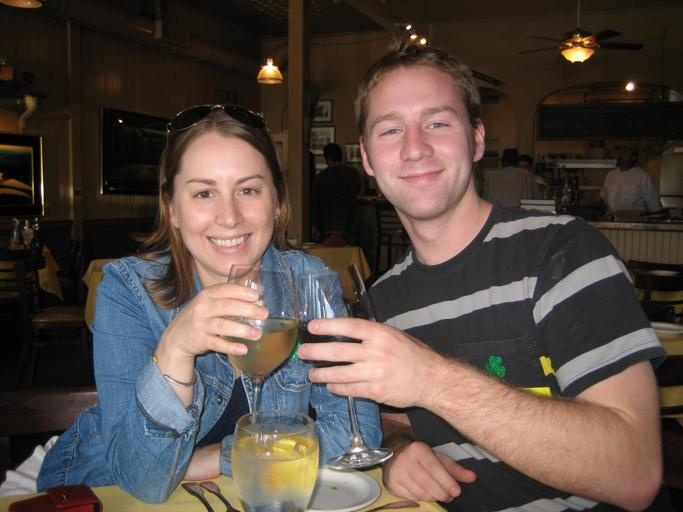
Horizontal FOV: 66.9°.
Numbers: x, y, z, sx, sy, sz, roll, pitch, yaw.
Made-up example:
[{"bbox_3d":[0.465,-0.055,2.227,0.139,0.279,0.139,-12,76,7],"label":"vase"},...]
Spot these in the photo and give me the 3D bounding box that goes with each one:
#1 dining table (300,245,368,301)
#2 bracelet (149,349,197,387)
[{"bbox_3d":[-0.005,0.163,5.243,0.512,0.331,0.507,-1,-5,10],"label":"dining table"},{"bbox_3d":[-0.393,0.271,1.238,0.089,0.023,0.086,49,14,34],"label":"bracelet"}]
